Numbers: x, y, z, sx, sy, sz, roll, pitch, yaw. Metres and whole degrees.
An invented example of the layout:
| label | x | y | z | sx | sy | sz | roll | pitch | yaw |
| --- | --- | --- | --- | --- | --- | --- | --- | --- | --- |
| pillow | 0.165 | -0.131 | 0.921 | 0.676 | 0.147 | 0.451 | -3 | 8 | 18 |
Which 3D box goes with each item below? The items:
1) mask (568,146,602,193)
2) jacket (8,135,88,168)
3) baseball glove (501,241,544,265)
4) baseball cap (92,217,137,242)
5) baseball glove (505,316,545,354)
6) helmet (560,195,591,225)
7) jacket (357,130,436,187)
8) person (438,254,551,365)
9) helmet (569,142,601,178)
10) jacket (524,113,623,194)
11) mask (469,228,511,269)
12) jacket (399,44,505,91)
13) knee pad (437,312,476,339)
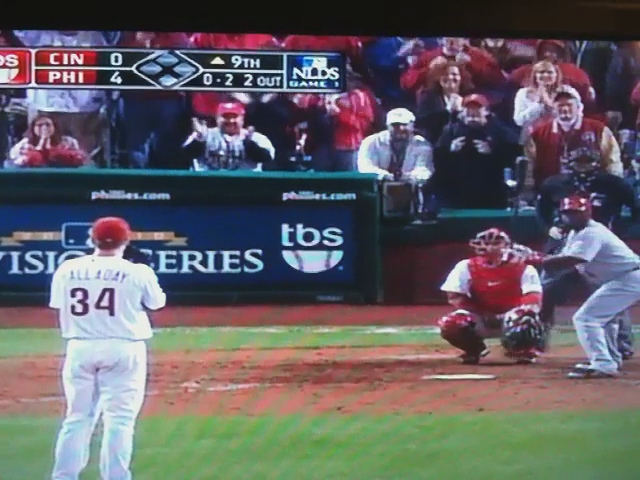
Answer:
| label | x | y | z | sx | sy | sz | roll | pitch | yaw |
| --- | --- | --- | --- | --- | --- | --- | --- | --- | --- |
| mask | 2.122 | -0.556 | 10.980 | 0.337 | 0.308 | 0.375 | 2 | -25 | 6 |
| jacket | -2.098 | -0.673 | 10.717 | 0.417 | 0.119 | 0.319 | -1 | 1 | 42 |
| baseball glove | 1.604 | 0.103 | 10.920 | 0.288 | 0.083 | 0.192 | 6 | -1 | -35 |
| baseball cap | -1.564 | -0.076 | 10.247 | 0.258 | 0.180 | 0.162 | 0 | -2 | -15 |
| baseball glove | 1.638 | 0.738 | 10.876 | 0.268 | 0.141 | 0.290 | -5 | 23 | 1 |
| helmet | 2.050 | -0.241 | 11.020 | 0.291 | 0.191 | 0.221 | 4 | -9 | -19 |
| jacket | 0.593 | -0.667 | 10.681 | 0.581 | 0.432 | 0.203 | 10 | -7 | 3 |
| person | 1.446 | 0.534 | 10.908 | 0.912 | 0.734 | 0.716 | -1 | 5 | 35 |
| helmet | 2.174 | -0.630 | 11.050 | 0.123 | 0.237 | 0.300 | -34 | -30 | -8 |
| jacket | 2.037 | -0.677 | 10.930 | 0.814 | 0.546 | 0.337 | -1 | 2 | 1 |
| mask | 1.367 | 0.079 | 10.993 | 0.304 | 0.282 | 0.370 | -9 | -18 | 32 |
| jacket | 1.021 | -1.381 | 10.828 | 0.765 | 0.194 | 0.742 | 3 | -7 | -33 |
| knee pad | 1.088 | 0.666 | 10.878 | 0.273 | 0.095 | 0.194 | -15 | 14 | -34 |
